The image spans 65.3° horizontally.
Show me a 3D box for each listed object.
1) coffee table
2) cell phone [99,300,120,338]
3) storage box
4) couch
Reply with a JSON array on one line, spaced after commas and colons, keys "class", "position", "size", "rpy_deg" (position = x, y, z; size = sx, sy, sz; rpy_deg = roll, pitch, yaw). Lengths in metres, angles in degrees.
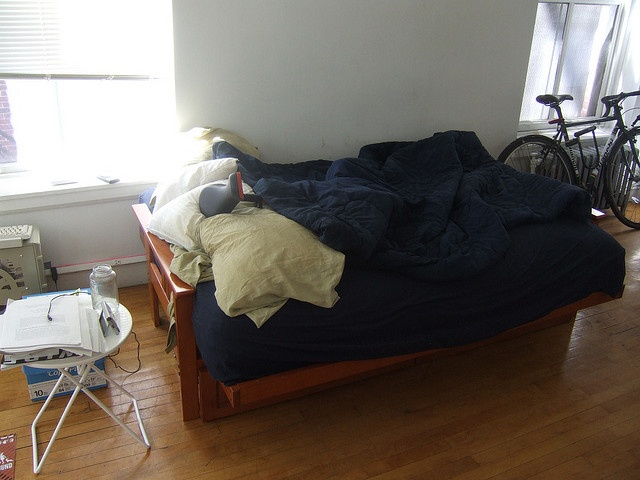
[{"class": "coffee table", "position": [-1.118, 0.632, 2.592], "size": [0.748, 0.832, 0.722], "rpy_deg": [-8, 41, -26]}, {"class": "cell phone", "position": [-0.980, 0.376, 2.318], "size": [0.041, 0.051, 0.142], "rpy_deg": [-26, 33, -18]}, {"class": "storage box", "position": [-1.409, 0.592, 2.790], "size": [0.556, 0.335, 0.543], "rpy_deg": [-8, 30, -23]}, {"class": "couch", "position": [0.167, 0.478, 2.650], "size": [1.764, 0.469, 1.521], "rpy_deg": [-15, 28, -19]}]
